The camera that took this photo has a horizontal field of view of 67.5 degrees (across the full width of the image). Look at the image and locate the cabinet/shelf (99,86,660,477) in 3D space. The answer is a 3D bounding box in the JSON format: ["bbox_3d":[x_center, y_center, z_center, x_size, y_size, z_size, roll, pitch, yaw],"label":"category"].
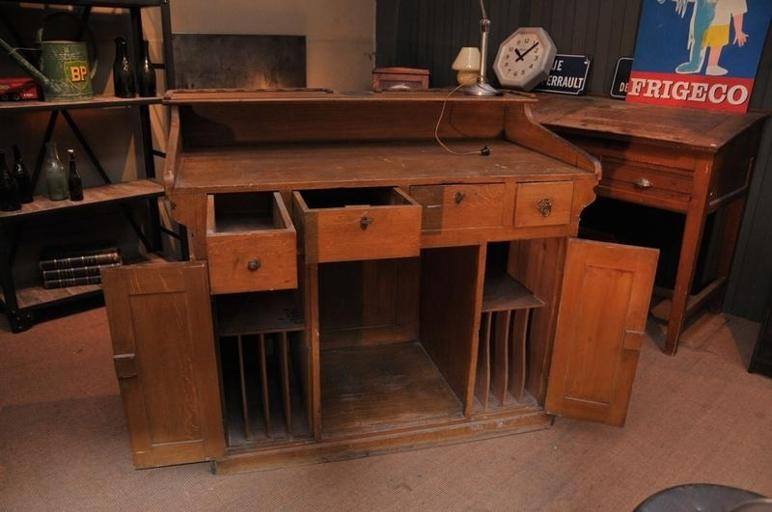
[{"bbox_3d":[0.041,0.198,3.143,2.055,1.359,1.090,-4,25,-9],"label":"cabinet/shelf"}]

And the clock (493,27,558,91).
[{"bbox_3d":[1.152,-1.643,4.825,0.516,0.490,0.331,7,25,18],"label":"clock"}]

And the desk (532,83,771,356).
[{"bbox_3d":[1.753,-0.237,3.681,1.047,1.423,1.475,-12,24,-27],"label":"desk"}]
